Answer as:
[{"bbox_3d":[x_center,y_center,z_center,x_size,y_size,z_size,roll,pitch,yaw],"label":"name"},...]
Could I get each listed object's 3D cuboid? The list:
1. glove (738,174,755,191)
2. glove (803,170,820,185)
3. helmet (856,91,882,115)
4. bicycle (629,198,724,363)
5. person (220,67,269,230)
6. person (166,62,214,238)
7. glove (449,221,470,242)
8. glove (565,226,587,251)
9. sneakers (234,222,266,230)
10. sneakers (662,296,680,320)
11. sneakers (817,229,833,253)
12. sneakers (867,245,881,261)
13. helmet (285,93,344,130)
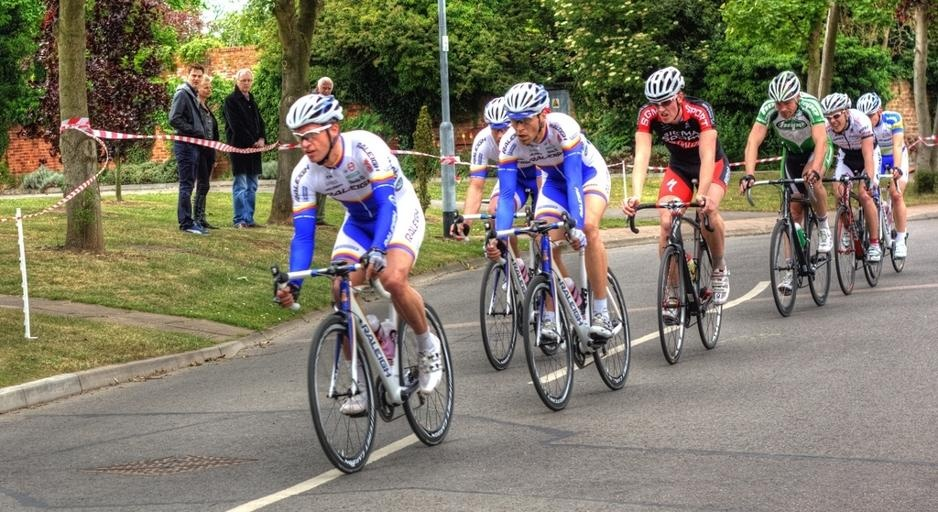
[{"bbox_3d":[4.876,-1.233,20.039,0.305,0.114,0.387,5,34,25],"label":"glove"},{"bbox_3d":[6.028,-1.379,20.156,0.203,0.090,0.253,10,-16,-36],"label":"glove"},{"bbox_3d":[8.306,-3.171,23.772,0.506,0.225,0.693,2,39,31],"label":"helmet"},{"bbox_3d":[3.560,0.392,18.718,0.502,2.634,1.437,1,6,44],"label":"bicycle"},{"bbox_3d":[-5.143,-2.435,26.182,0.878,3.585,1.557,-3,4,-11],"label":"person"},{"bbox_3d":[-6.128,-2.325,25.112,0.835,3.707,0.888,-3,4,-9],"label":"person"},{"bbox_3d":[-0.150,-0.392,17.633,0.230,0.294,0.343,6,12,29],"label":"glove"},{"bbox_3d":[1.624,-0.263,17.244,0.383,0.119,0.276,21,-1,-12],"label":"glove"},{"bbox_3d":[-5.145,-0.692,26.516,0.610,0.209,0.206,-2,3,37],"label":"sneakers"},{"bbox_3d":[3.251,0.844,18.437,0.311,0.355,0.137,2,-1,-8],"label":"sneakers"},{"bbox_3d":[6.526,-0.280,20.958,0.191,0.219,0.519,-3,41,18],"label":"sneakers"},{"bbox_3d":[7.841,-0.062,22.100,0.318,0.337,0.128,-4,4,-25],"label":"sneakers"},{"bbox_3d":[-2.207,-2.036,16.121,0.531,0.248,0.705,4,15,31],"label":"helmet"}]
